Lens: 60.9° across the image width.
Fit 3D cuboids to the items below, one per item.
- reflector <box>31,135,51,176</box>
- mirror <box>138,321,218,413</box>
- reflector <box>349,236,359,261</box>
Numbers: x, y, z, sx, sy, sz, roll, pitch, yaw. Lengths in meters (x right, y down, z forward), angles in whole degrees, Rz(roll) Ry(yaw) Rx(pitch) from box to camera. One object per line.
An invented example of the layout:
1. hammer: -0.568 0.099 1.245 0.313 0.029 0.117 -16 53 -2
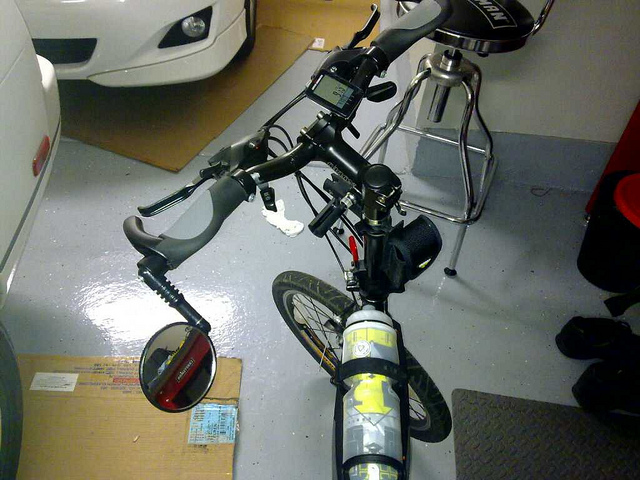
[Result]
1. reflector: -1.409 -0.433 2.743 0.029 0.063 0.236 9 39 -15
2. mirror: -0.575 0.499 2.200 0.315 0.040 0.371 -16 57 -7
3. reflector: 0.138 0.031 2.169 0.027 0.027 0.111 9 54 -22
